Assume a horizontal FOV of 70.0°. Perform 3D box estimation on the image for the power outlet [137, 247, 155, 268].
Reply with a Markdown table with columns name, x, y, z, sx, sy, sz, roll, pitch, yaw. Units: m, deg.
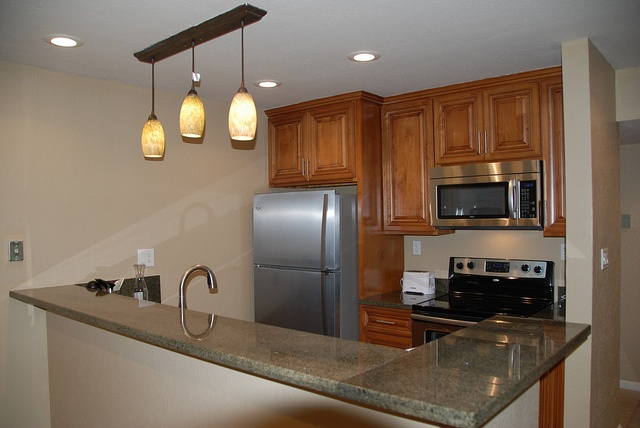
| name | x | y | z | sx | sy | sz | roll | pitch | yaw |
| --- | --- | --- | --- | --- | --- | --- | --- | --- | --- |
| power outlet | -1.458 | 0.361 | 3.823 | 0.022 | 0.198 | 0.185 | -8 | -4 | 43 |

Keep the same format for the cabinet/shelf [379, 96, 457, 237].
| name | x | y | z | sx | sy | sz | roll | pitch | yaw |
| --- | --- | --- | --- | --- | --- | --- | --- | --- | --- |
| cabinet/shelf | 0.817 | -0.425 | 4.330 | 0.479 | 1.181 | 0.530 | -1 | 5 | 16 |

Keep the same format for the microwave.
| name | x | y | z | sx | sy | sz | roll | pitch | yaw |
| --- | --- | --- | --- | --- | --- | --- | --- | --- | --- |
| microwave | 1.342 | -0.147 | 3.715 | 0.851 | 0.532 | 0.524 | -2 | -4 | 41 |

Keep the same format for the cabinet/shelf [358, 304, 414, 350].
| name | x | y | z | sx | sy | sz | roll | pitch | yaw |
| --- | --- | --- | --- | --- | --- | --- | --- | --- | --- |
| cabinet/shelf | 0.559 | 0.947 | 3.932 | 0.523 | 0.472 | 0.312 | -2 | -5 | 38 |

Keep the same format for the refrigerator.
| name | x | y | z | sx | sy | sz | roll | pitch | yaw |
| --- | --- | --- | --- | --- | --- | --- | --- | --- | --- |
| refrigerator | -0.150 | 0.436 | 4.145 | 1.032 | 1.325 | 0.438 | 4 | 9 | 26 |

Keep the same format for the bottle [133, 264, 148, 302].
| name | x | y | z | sx | sy | sz | roll | pitch | yaw |
| --- | --- | --- | --- | --- | --- | --- | --- | --- | --- |
| bottle | -1.440 | 0.543 | 3.666 | 0.114 | 0.349 | 0.341 | -4 | 9 | -23 |

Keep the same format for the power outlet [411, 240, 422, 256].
| name | x | y | z | sx | sy | sz | roll | pitch | yaw |
| --- | --- | --- | --- | --- | --- | --- | --- | --- | --- |
| power outlet | 0.948 | 0.329 | 4.444 | 0.095 | 0.154 | 0.027 | 3 | 9 | 19 |

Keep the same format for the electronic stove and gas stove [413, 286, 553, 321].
| name | x | y | z | sx | sy | sz | roll | pitch | yaw |
| --- | --- | --- | --- | --- | --- | --- | --- | --- | --- |
| electronic stove and gas stove | 1.314 | 0.704 | 3.684 | 1.009 | 0.198 | 0.686 | 4 | 9 | 27 |

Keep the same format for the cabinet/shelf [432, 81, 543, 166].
| name | x | y | z | sx | sy | sz | roll | pitch | yaw |
| --- | --- | --- | --- | --- | --- | --- | --- | --- | --- |
| cabinet/shelf | 1.392 | -0.742 | 3.699 | 0.736 | 0.584 | 0.281 | -1 | -3 | 36 |

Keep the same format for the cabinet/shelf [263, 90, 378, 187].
| name | x | y | z | sx | sy | sz | roll | pitch | yaw |
| --- | --- | --- | --- | --- | --- | --- | --- | --- | --- |
| cabinet/shelf | 0.004 | -0.671 | 4.449 | 1.158 | 0.796 | 0.425 | 0 | 2 | 38 |
